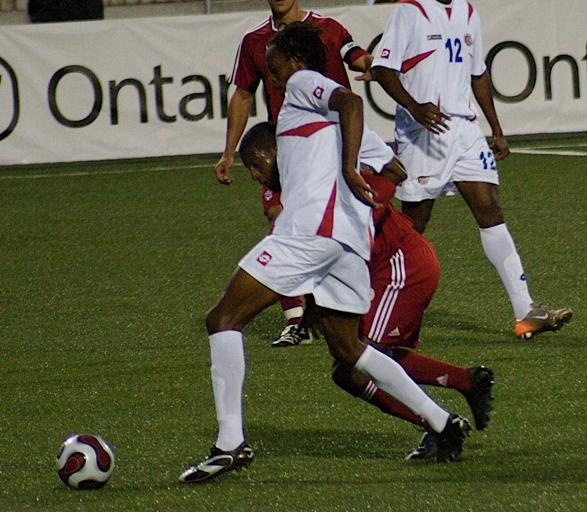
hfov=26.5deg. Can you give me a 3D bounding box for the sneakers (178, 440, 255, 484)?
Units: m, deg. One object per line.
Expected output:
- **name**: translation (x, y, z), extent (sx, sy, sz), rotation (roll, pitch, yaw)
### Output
- **sneakers**: translation (-0.325, 0.908, 5.527), extent (0.359, 0.166, 0.143), rotation (-20, 1, -1)

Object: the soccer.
- **soccer**: translation (-0.913, 0.937, 5.549), extent (0.261, 0.300, 0.282), rotation (0, -6, -17)

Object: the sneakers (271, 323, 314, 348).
- **sneakers**: translation (-0.081, 0.447, 6.937), extent (0.298, 0.136, 0.135), rotation (1, -4, -33)

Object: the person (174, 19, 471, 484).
- **person**: translation (0.157, -0.046, 5.644), extent (1.253, 2.103, 1.001), rotation (1, -11, 1)

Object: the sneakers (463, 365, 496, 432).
- **sneakers**: translation (0.860, 0.644, 5.778), extent (0.131, 0.318, 0.107), rotation (-7, 10, 4)

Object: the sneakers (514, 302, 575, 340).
- **sneakers**: translation (1.347, 0.374, 6.743), extent (0.296, 0.217, 0.163), rotation (0, 15, 12)
